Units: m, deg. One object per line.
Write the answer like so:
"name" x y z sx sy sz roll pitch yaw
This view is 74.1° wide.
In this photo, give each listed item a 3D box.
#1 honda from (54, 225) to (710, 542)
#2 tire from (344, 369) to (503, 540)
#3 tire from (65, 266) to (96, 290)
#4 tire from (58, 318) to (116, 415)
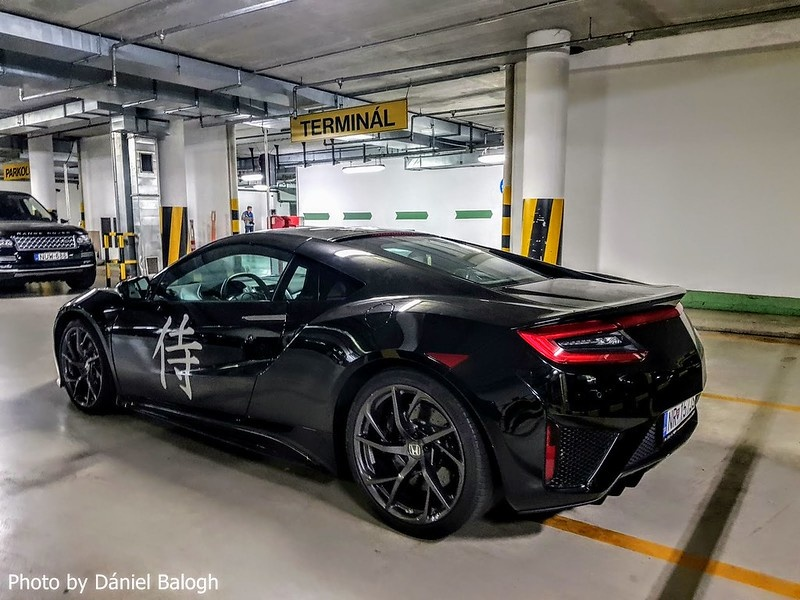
"honda" -0.409 0.228 3.448 3.632 0.964 1.855 9 9 32
"tire" 0.115 0.799 2.828 0.339 0.885 0.998 -1 -3 -44
"tire" -6.470 -0.469 10.656 0.747 0.661 0.316 7 -1 39
"tire" -2.413 0.491 4.094 0.735 0.724 0.271 12 10 36
